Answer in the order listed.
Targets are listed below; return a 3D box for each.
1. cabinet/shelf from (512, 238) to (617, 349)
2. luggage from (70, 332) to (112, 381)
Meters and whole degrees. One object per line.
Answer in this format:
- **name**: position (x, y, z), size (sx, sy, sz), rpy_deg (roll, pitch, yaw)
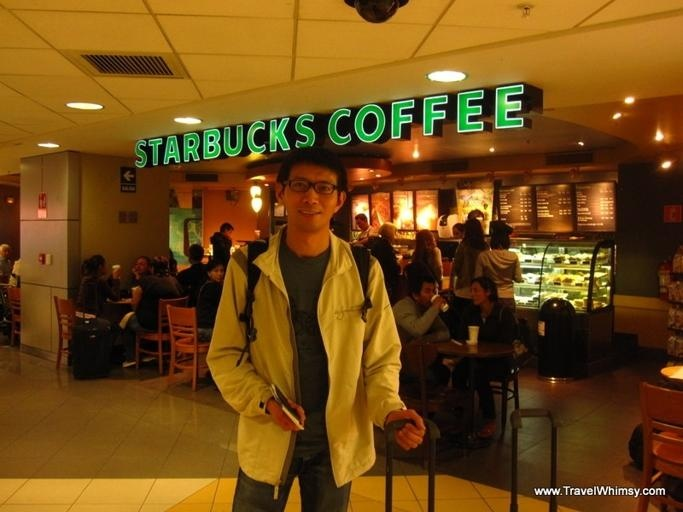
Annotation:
- **cabinet/shelf**: position (3.177, 0.562, 7.658), size (1.586, 1.468, 0.911), rpy_deg (-2, -4, 45)
- **luggage**: position (-3.496, 1.351, 7.750), size (0.564, 0.703, 0.436), rpy_deg (-2, -8, -7)
